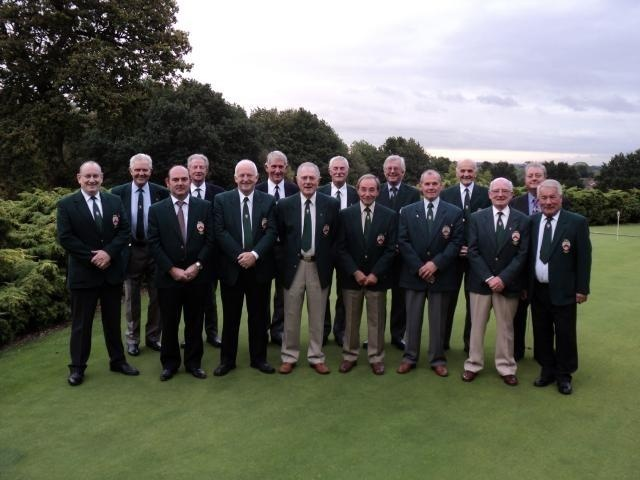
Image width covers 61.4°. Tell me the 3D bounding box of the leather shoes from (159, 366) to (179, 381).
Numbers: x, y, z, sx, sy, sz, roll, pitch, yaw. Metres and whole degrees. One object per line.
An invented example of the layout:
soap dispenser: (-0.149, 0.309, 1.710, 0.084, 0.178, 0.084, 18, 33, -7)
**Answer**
leather shoes: (-1.873, 1.650, 6.603, 0.088, 0.125, 0.281, -3, -12, 8)

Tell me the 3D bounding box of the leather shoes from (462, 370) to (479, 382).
leather shoes: (1.836, 1.678, 6.606, 0.081, 0.103, 0.231, -5, -16, 33)

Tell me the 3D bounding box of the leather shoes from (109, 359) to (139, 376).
leather shoes: (-2.453, 1.590, 6.741, 0.405, 0.180, 0.159, 3, 1, 8)

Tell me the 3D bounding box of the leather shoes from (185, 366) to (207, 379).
leather shoes: (-1.561, 1.627, 6.690, 0.290, 0.089, 0.110, 3, 6, 44)

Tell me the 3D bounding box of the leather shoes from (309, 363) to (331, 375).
leather shoes: (0.013, 1.631, 6.789, 0.094, 0.129, 0.284, 2, -11, -29)

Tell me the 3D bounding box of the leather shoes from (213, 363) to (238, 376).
leather shoes: (-1.206, 1.630, 6.770, 0.106, 0.121, 0.265, -8, -12, 38)

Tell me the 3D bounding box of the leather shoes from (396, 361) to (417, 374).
leather shoes: (1.101, 1.605, 6.801, 0.104, 0.144, 0.325, -10, -18, 34)

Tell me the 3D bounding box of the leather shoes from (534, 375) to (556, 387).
leather shoes: (2.713, 1.692, 6.506, 0.292, 0.138, 0.106, -1, 4, -17)

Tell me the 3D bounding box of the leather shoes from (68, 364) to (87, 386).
leather shoes: (-2.936, 1.633, 6.477, 0.115, 0.141, 0.302, 16, -4, -28)

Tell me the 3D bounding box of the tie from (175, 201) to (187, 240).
tie: (-1.715, -0.248, 6.637, 0.092, 0.473, 0.136, -4, 8, -20)

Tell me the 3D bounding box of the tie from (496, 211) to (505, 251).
tie: (2.228, -0.124, 6.621, 0.097, 0.421, 0.127, 1, 8, 19)

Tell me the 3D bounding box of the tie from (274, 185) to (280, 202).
tie: (-0.605, -0.666, 7.572, 0.056, 0.254, 0.063, 3, -16, -6)

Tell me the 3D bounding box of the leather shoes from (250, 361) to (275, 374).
leather shoes: (-0.722, 1.591, 6.754, 0.308, 0.139, 0.120, -2, 0, 34)

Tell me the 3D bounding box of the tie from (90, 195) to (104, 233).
tie: (-2.736, -0.333, 6.576, 0.113, 0.390, 0.102, -6, 9, -32)

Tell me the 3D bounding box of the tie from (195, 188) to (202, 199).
tie: (-1.710, -0.661, 7.576, 0.153, 0.173, 0.044, 0, -2, -18)

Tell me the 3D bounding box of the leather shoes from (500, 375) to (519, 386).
leather shoes: (2.321, 1.695, 6.524, 0.204, 0.102, 0.173, 1, 8, 13)

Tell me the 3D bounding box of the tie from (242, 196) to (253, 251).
tie: (-0.908, -0.204, 6.680, 0.121, 0.638, 0.174, -2, 7, -9)

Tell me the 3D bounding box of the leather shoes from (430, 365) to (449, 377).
leather shoes: (1.516, 1.639, 6.729, 0.093, 0.105, 0.248, -2, -6, -14)

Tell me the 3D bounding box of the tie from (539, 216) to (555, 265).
tie: (2.743, 0.011, 6.505, 0.137, 0.544, 0.122, 2, 8, 25)
